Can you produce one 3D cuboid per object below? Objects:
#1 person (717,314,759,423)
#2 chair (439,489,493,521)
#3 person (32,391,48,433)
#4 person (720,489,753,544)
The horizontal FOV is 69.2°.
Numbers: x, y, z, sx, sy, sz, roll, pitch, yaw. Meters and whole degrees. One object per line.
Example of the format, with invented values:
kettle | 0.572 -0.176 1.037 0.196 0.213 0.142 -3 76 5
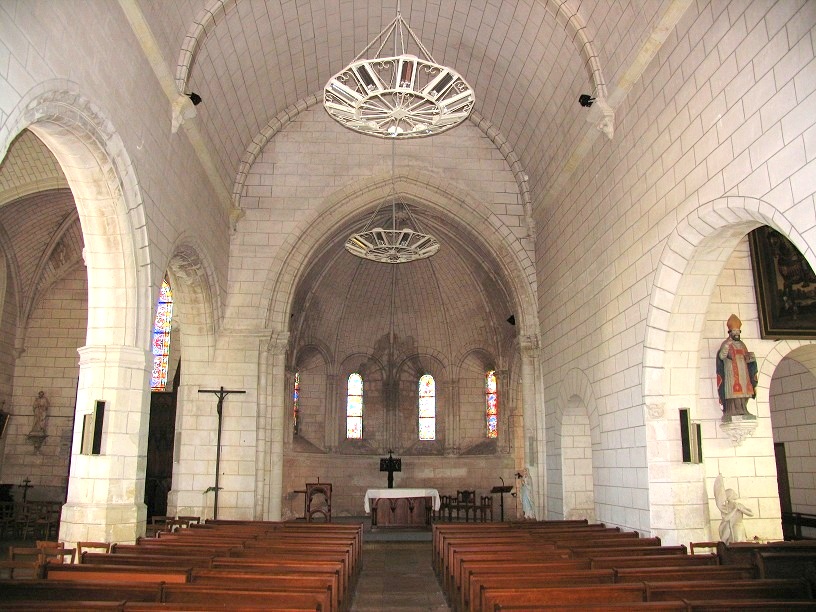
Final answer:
person | 5.836 1.075 10.606 0.653 1.829 0.560 -11 -21 27
chair | 2.347 7.751 23.103 1.531 1.092 0.528 -1 -30 2
person | -11.904 3.470 19.396 0.474 1.440 0.286 6 -19 -19
person | 5.566 3.639 10.126 0.489 1.151 0.297 -10 9 13
